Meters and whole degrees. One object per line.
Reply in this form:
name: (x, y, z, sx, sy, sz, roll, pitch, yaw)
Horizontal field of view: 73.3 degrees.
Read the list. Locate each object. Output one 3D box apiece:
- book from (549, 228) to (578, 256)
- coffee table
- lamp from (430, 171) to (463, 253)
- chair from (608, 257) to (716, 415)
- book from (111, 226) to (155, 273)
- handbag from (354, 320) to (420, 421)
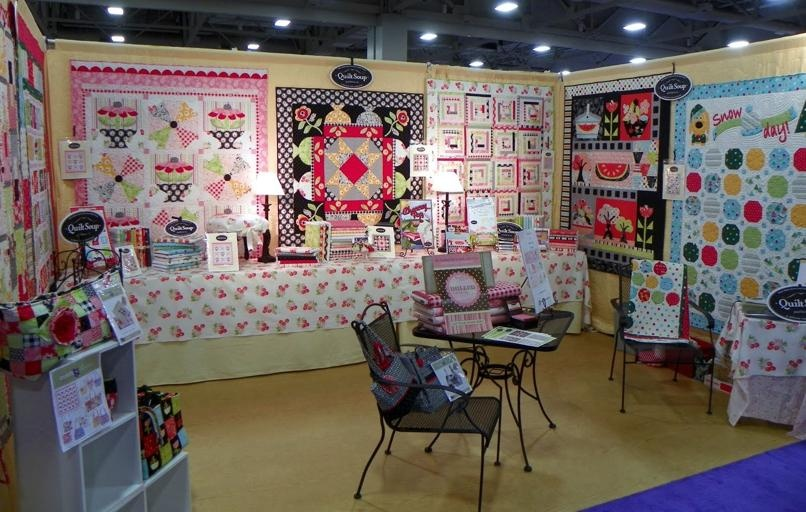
book: (1.980, -0.157, 6.839, 0.334, 0.329, 0.337, 5, 0, -1)
coffee table: (0.866, 1.007, 4.969, 1.338, 1.200, 1.622, 0, 2, 18)
lamp: (0.562, -0.565, 6.765, 0.384, 0.953, 0.661, -1, 10, 5)
chair: (2.720, 0.728, 5.670, 1.018, 1.361, 1.550, 4, 12, 28)
book: (-2.823, -0.079, 5.695, 0.427, 0.572, 0.434, -2, 3, -28)
handbag: (-0.090, 0.853, 3.990, 0.511, 0.734, 0.298, 8, 14, 42)
